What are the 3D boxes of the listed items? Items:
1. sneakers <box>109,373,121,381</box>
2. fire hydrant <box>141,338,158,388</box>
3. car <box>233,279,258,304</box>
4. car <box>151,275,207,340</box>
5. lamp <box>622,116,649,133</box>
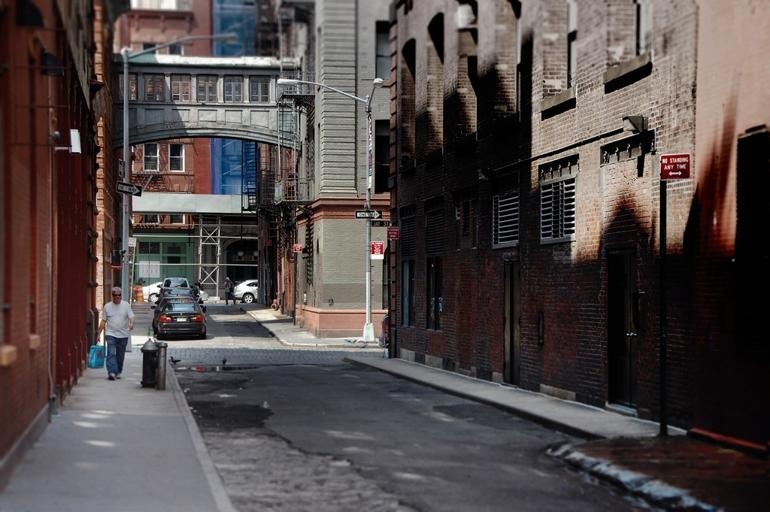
[{"bbox_3d":[-7.030,3.133,23.500,0.109,0.142,0.307,0,-13,2],"label":"sneakers"},{"bbox_3d":[-5.604,2.555,21.583,0.359,1.162,0.684,-1,1,-20],"label":"fire hydrant"},{"bbox_3d":[-11.813,3.024,77.131,2.353,1.126,1.396,-2,2,-17],"label":"car"},{"bbox_3d":[-9.446,2.611,41.656,2.582,2.353,6.919,0,5,-11],"label":"car"},{"bbox_3d":[4.654,-2.412,16.926,0.358,0.270,0.374,1,-2,-16],"label":"lamp"}]
